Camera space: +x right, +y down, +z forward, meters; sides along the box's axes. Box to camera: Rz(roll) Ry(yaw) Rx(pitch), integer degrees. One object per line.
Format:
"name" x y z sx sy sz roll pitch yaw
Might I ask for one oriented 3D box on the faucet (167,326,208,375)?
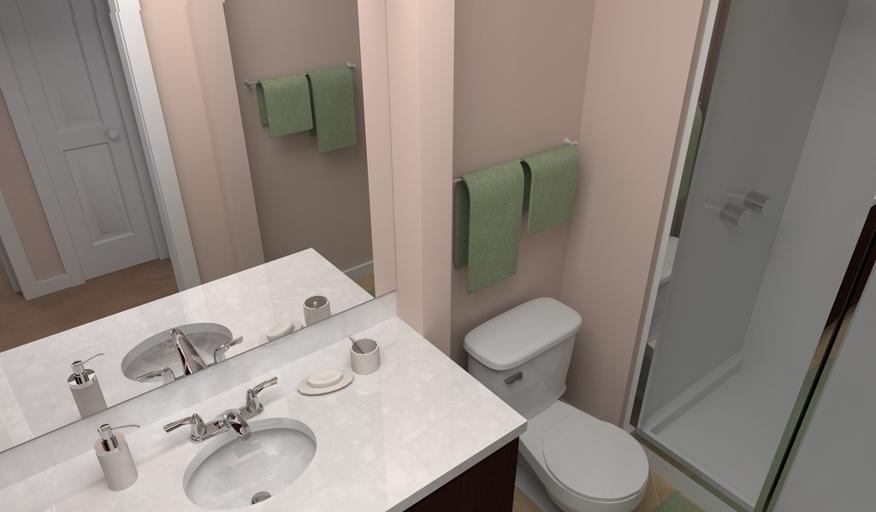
"faucet" -0.911 0.349 1.987 0.103 0.162 0.046 -29 19 -35

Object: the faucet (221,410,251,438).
"faucet" -0.725 0.605 1.965 0.069 0.046 0.115 -31 69 -35

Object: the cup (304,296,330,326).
"cup" -0.477 0.214 2.240 0.115 0.114 0.115 0 28 0

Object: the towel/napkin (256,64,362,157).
"towel/napkin" -0.482 -0.524 2.039 0.063 0.303 0.418 26 38 35

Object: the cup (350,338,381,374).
"cup" -0.280 0.393 2.209 0.117 0.105 0.140 2 28 5

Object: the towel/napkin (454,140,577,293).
"towel/napkin" 0.328 -0.197 2.428 0.671 0.484 0.115 -24 38 -33

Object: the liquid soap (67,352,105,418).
"liquid soap" -1.181 0.445 1.862 0.135 0.205 0.057 -23 39 -29
